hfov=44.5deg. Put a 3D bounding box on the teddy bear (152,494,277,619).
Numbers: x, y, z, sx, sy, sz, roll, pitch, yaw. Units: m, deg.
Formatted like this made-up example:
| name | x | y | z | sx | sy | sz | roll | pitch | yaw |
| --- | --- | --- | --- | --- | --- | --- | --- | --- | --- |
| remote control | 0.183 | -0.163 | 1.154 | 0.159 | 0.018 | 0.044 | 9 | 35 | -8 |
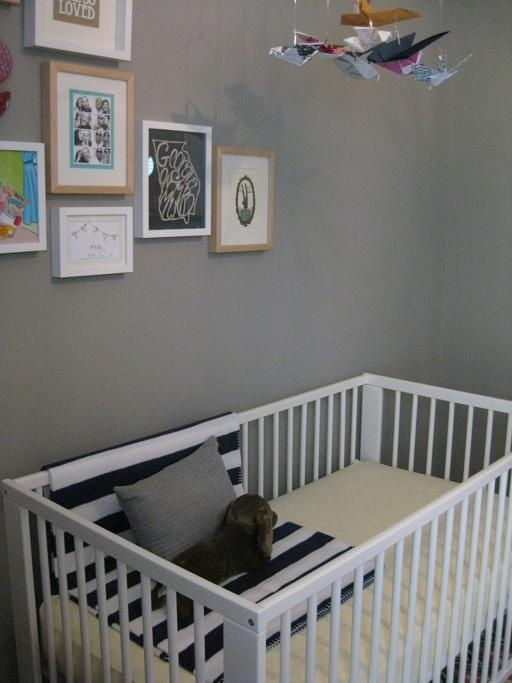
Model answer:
| name | x | y | z | sx | sy | sz | roll | pitch | yaw |
| --- | --- | --- | --- | --- | --- | --- | --- | --- | --- |
| teddy bear | -0.086 | 0.511 | 1.552 | 0.152 | 0.193 | 0.388 | 10 | 12 | 38 |
